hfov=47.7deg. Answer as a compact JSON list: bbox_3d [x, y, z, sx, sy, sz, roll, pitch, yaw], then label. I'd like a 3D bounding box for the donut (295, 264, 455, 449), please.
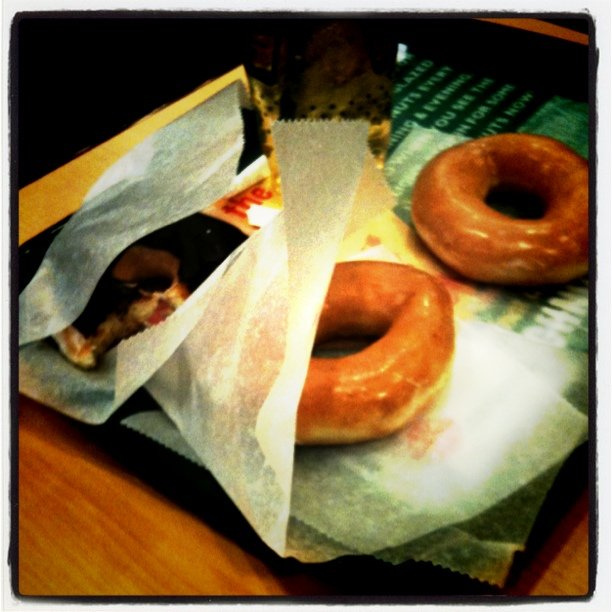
[{"bbox_3d":[0.068,0.049,0.918,0.264,0.100,0.283,-3,41,20],"label":"donut"}]
